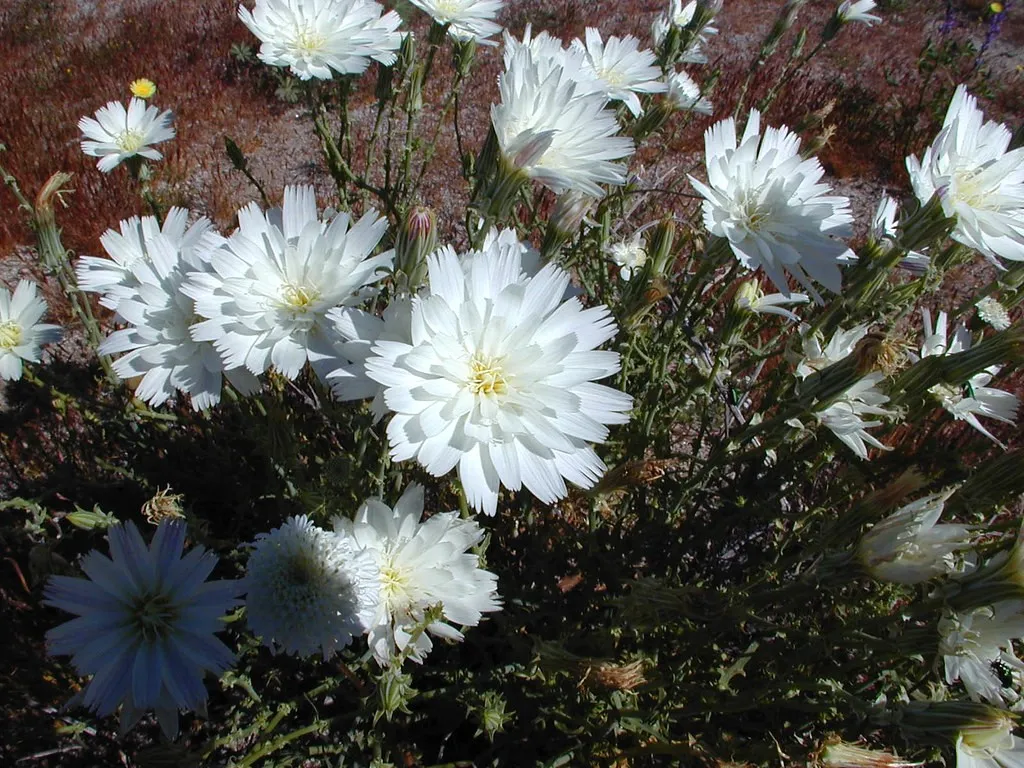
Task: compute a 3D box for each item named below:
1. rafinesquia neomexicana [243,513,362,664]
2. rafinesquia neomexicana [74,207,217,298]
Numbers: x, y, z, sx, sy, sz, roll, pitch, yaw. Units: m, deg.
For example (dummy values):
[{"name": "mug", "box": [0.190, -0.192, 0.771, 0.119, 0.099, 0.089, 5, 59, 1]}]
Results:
[{"name": "rafinesquia neomexicana", "box": [-0.591, 0.574, 2.484, 0.352, 0.158, 0.365, 15, 40, 10]}, {"name": "rafinesquia neomexicana", "box": [-1.240, -0.415, 2.927, 0.372, 0.105, 0.389, -7, 58, 19]}]
